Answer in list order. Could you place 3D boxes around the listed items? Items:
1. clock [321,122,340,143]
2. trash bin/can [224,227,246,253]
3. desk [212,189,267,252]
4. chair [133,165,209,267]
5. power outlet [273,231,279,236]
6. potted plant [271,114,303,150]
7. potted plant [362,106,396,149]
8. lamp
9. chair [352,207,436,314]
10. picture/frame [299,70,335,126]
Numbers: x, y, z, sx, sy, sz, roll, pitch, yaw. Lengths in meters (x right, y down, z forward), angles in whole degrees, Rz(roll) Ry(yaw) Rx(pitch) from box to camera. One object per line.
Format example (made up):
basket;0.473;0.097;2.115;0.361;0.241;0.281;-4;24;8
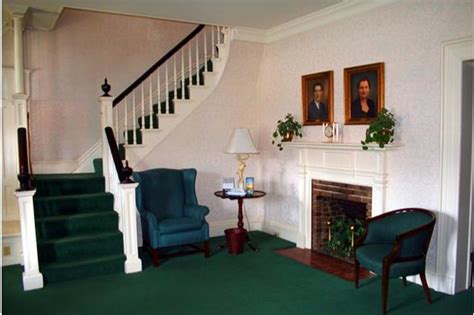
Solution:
clock;1.441;-0.408;5.776;0.348;0.318;0.116;-1;6;-26
trash bin/can;0.047;1.389;6.110;0.388;0.366;0.414;-14;-12;35
desk;0.049;1.097;6.256;0.845;0.991;0.938;0;-2;27
chair;-1.097;0.895;6.005;1.142;1.377;1.182;0;1;44
power outlet;0.744;1.450;6.902;0.015;0.075;0.104;2;-3;-32
potted plant;0.948;-0.495;6.594;0.587;0.548;0.606;8;11;39
potted plant;2.010;-0.387;5.089;0.425;0.466;0.446;0;14;11
lamp;0.083;0.006;6.571;0.575;1.142;0.926;0;12;1
chair;2.077;1.307;5.284;1.172;1.495;1.129;-1;2;-19
picture/frame;1.333;-1.001;6.076;0.158;0.890;0.674;-10;15;-39
